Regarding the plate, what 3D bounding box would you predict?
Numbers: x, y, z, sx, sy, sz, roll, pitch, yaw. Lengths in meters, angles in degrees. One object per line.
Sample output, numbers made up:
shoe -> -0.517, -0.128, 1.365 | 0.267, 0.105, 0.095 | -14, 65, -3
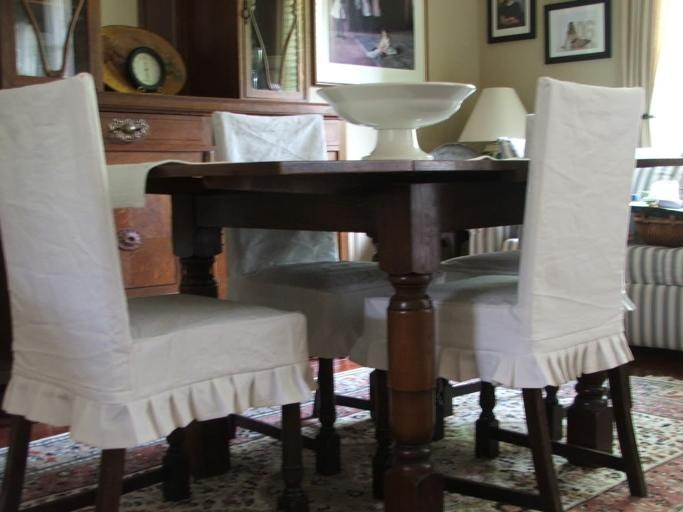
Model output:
plate -> -1.132, -1.021, 3.483 | 0.455, 0.408, 0.106 | 27, -44, -34
